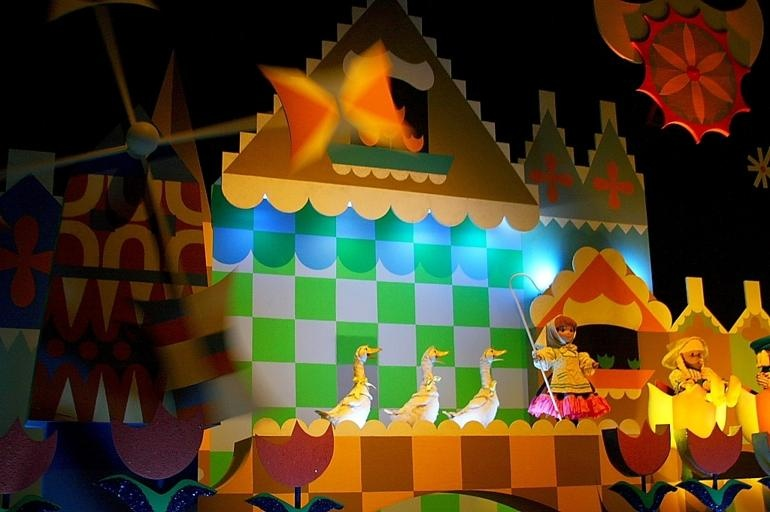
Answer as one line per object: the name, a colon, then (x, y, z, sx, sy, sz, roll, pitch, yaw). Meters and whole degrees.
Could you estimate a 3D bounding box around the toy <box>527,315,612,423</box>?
toy: (0.907, 0.571, 4.386, 0.344, 0.548, 0.306, 4, -18, -5)
